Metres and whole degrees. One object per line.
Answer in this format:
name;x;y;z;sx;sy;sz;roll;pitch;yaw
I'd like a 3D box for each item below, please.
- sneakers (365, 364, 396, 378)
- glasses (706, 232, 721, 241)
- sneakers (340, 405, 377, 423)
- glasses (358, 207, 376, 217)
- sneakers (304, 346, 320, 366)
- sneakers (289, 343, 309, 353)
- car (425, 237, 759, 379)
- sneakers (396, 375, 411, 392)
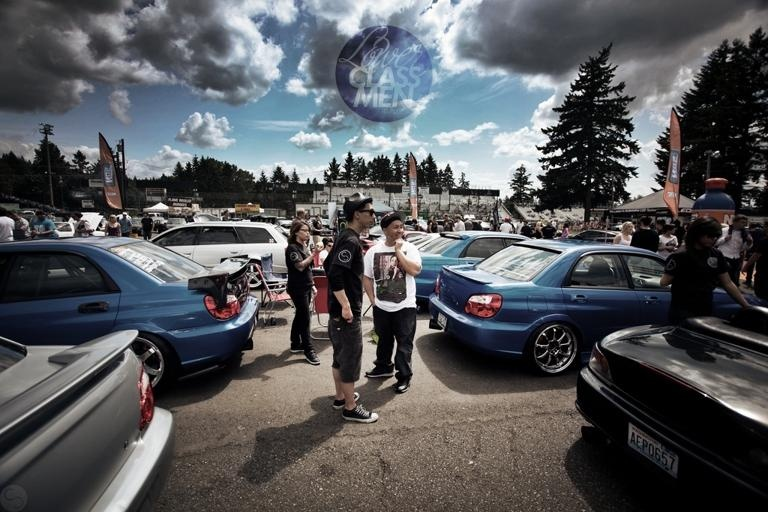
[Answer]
sneakers;-0.040;1.521;5.281;0.428;0.203;0.157;2;-2;-8
glasses;3.850;-0.237;4.600;0.087;0.073;0.116;9;-2;-22
sneakers;-0.272;1.680;4.270;0.388;0.170;0.158;0;1;-1
glasses;-0.168;-0.477;4.275;0.090;0.088;0.246;4;9;26
sneakers;-1.024;1.414;5.590;0.127;0.144;0.349;-3;-2;-26
sneakers;-1.246;1.368;5.906;0.350;0.148;0.123;0;6;-4
car;2.884;0.355;5.836;4.051;1.402;1.808;-4;5;-14
sneakers;0.232;1.567;4.831;0.099;0.121;0.273;-2;-10;13
